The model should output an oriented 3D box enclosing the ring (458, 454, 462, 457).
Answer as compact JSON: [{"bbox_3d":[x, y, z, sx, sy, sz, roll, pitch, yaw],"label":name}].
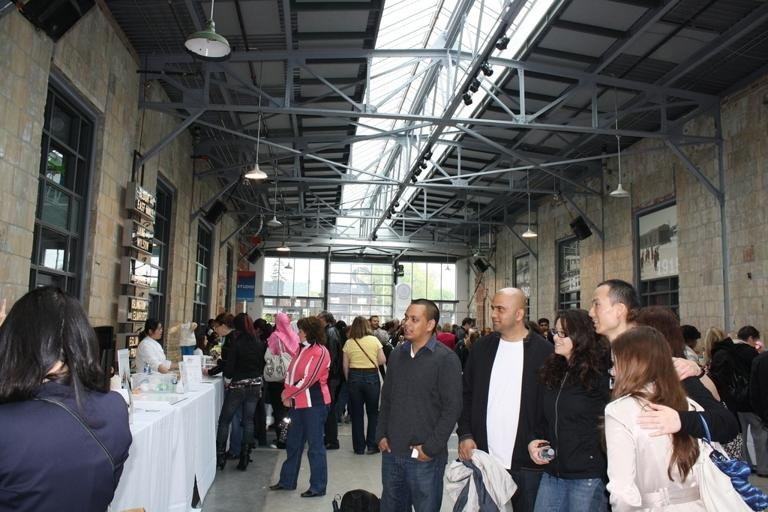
[{"bbox_3d":[0.568,1.493,4.295,0.021,0.015,0.020,3,-6,0],"label":"ring"}]

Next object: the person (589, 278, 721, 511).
[{"bbox_3d":[1.681,0.585,3.682,0.585,0.960,0.944,-1,-11,9],"label":"person"}]

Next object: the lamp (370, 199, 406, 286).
[{"bbox_3d":[0.393,-0.806,24.473,1.244,4.760,0.671,0,20,0],"label":"lamp"}]

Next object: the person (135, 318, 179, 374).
[{"bbox_3d":[-3.029,1.343,7.687,0.548,0.901,0.636,8,0,-22],"label":"person"}]

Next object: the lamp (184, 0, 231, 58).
[{"bbox_3d":[-2.052,-2.548,6.734,0.495,0.400,0.368,5,-11,-22],"label":"lamp"}]

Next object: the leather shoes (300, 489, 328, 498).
[{"bbox_3d":[-0.806,2.691,6.485,0.214,0.068,0.101,13,-24,-24],"label":"leather shoes"}]

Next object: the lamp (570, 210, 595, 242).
[{"bbox_3d":[5.321,-0.766,15.221,0.699,0.653,0.541,8,-13,-34],"label":"lamp"}]

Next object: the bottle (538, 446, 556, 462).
[{"bbox_3d":[1.146,1.392,4.031,0.110,0.086,0.048,2,-5,-12],"label":"bottle"}]

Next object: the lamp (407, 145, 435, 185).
[{"bbox_3d":[0.911,-2.188,13.975,0.407,0.323,1.571,-35,-4,-10],"label":"lamp"}]
